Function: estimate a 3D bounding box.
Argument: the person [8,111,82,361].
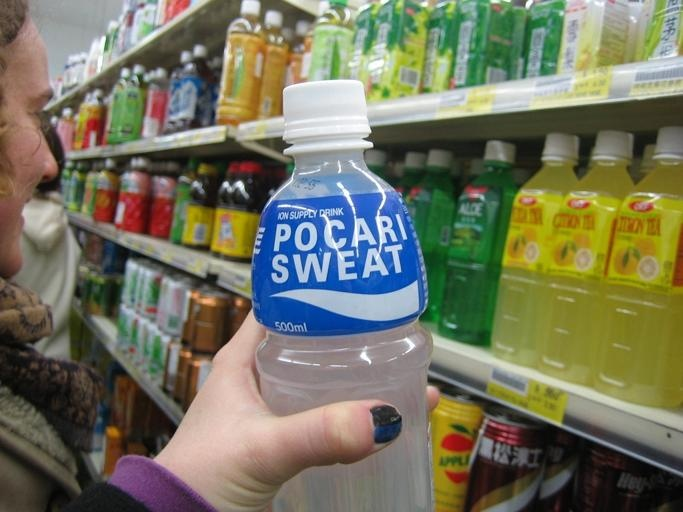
[{"bbox_3d":[-2.238,-0.180,3.981,0.559,0.597,2.349,13,19,-30],"label":"person"}]
